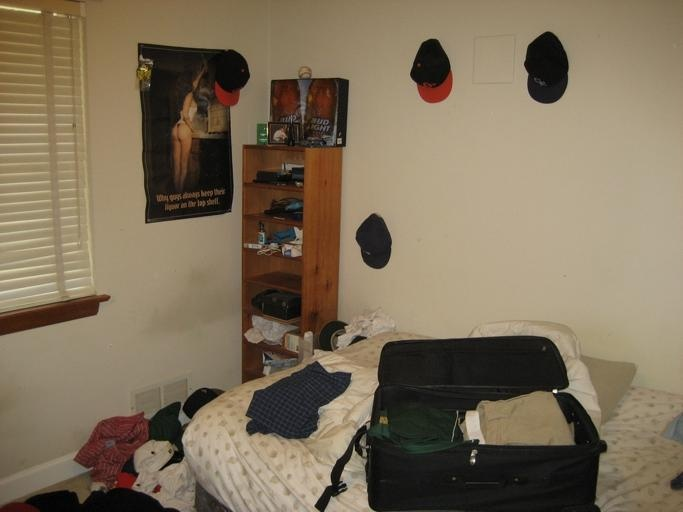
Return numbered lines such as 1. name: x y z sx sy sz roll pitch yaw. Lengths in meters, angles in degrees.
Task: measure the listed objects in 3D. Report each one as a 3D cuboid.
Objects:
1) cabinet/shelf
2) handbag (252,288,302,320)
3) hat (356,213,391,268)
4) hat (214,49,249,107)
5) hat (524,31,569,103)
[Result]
1. cabinet/shelf: -0.417 0.102 4.253 0.764 1.901 0.467 7 11 41
2. handbag: -0.508 0.360 4.208 0.480 0.197 0.191 8 11 40
3. hat: 0.230 -0.107 3.966 0.266 0.412 0.086 7 10 37
4. hat: -0.805 -1.309 4.015 0.255 0.400 0.206 -19 27 -40
5. hat: 1.206 -1.113 3.216 0.247 0.399 0.099 12 25 35
